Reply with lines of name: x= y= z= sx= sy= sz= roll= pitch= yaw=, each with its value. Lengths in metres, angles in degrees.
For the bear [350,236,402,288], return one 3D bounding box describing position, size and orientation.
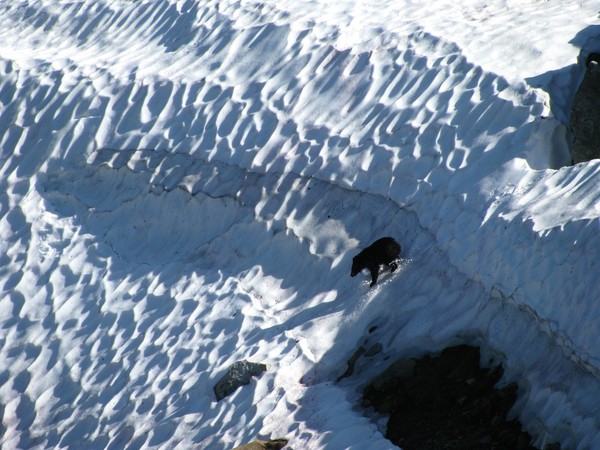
bear: x=1.072 y=0.542 z=24.038 sx=0.804 sy=0.636 sz=0.387 roll=-25 pitch=26 yaw=-14
